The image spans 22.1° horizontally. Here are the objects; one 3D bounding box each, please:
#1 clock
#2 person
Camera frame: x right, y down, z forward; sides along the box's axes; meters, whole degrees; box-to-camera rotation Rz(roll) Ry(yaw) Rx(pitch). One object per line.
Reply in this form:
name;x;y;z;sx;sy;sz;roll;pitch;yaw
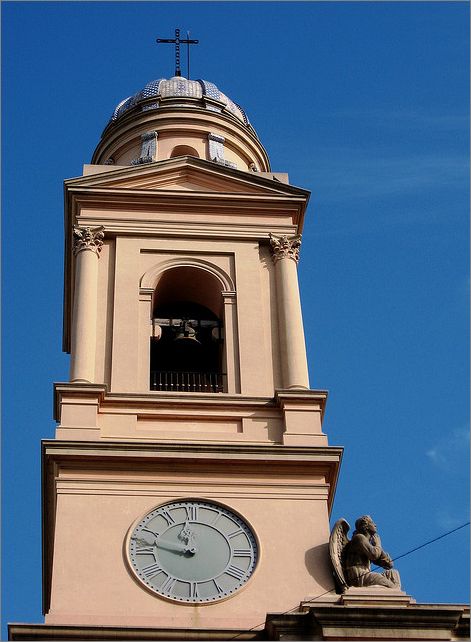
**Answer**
clock;-0.705;3.517;18.161;2.527;2.230;0.133;2;-59;-5
person;1.957;3.542;18.095;1.212;1.282;1.003;4;-25;-10
